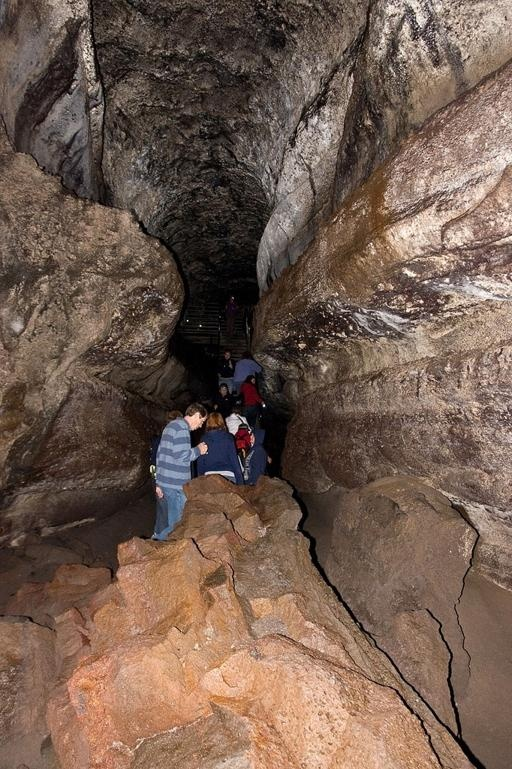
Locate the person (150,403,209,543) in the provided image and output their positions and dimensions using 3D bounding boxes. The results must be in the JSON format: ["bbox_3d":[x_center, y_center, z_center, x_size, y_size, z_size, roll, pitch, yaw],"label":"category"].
[{"bbox_3d":[-0.505,0.650,3.645,0.333,1.043,0.662,5,12,-9],"label":"person"}]
